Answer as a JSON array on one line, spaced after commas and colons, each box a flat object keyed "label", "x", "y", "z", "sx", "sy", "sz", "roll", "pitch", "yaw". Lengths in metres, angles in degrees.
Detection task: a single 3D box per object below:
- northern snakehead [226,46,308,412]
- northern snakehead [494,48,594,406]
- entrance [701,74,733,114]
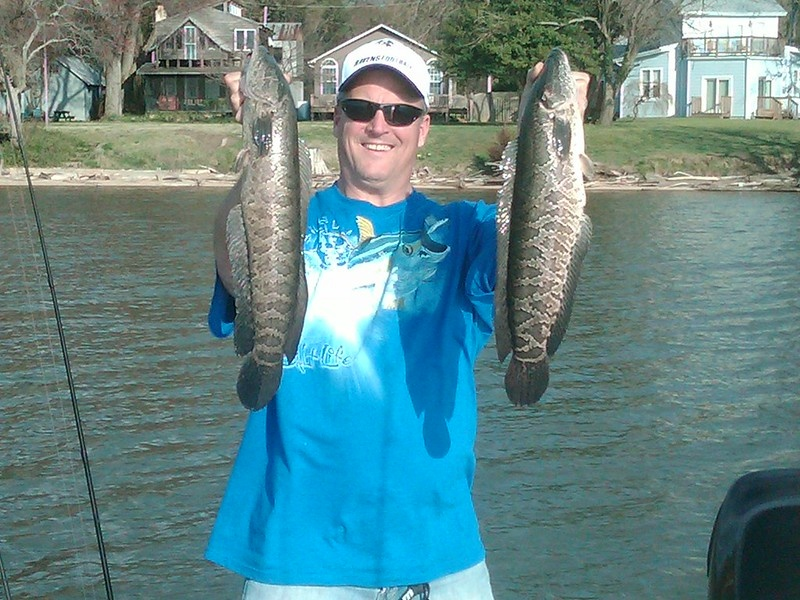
[{"label": "northern snakehead", "x": -0.991, "y": -0.529, "z": 9.594, "sx": 0.469, "sy": 2.645, "sz": 0.338, "roll": -3, "pitch": 8, "yaw": -30}, {"label": "northern snakehead", "x": 1.040, "y": -0.517, "z": 9.544, "sx": 0.678, "sy": 2.617, "sz": 0.338, "roll": 2, "pitch": 7, "yaw": 7}, {"label": "entrance", "x": 15.100, "y": -9.912, "z": 62.335, "sx": 0.304, "sy": 2.733, "sz": 2.113, "roll": -6, "pitch": 7, "yaw": -36}]
